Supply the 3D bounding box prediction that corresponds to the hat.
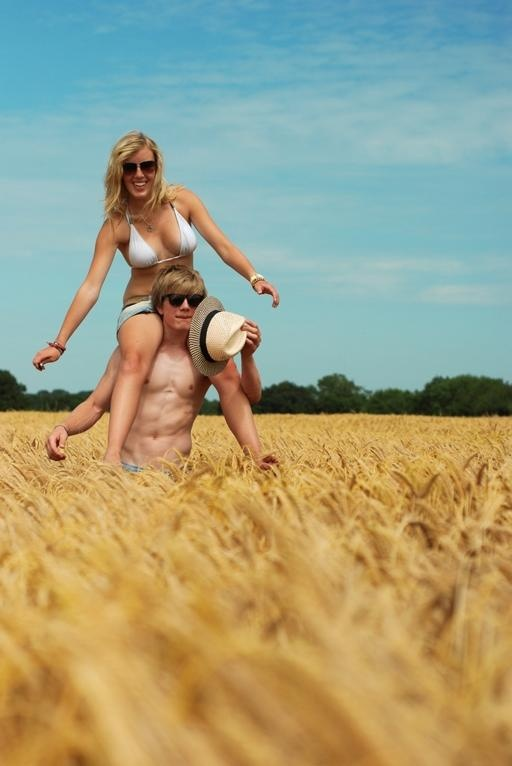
[{"bbox_3d":[-0.187,-0.214,3.496,0.250,0.405,0.337,3,6,-39],"label":"hat"}]
